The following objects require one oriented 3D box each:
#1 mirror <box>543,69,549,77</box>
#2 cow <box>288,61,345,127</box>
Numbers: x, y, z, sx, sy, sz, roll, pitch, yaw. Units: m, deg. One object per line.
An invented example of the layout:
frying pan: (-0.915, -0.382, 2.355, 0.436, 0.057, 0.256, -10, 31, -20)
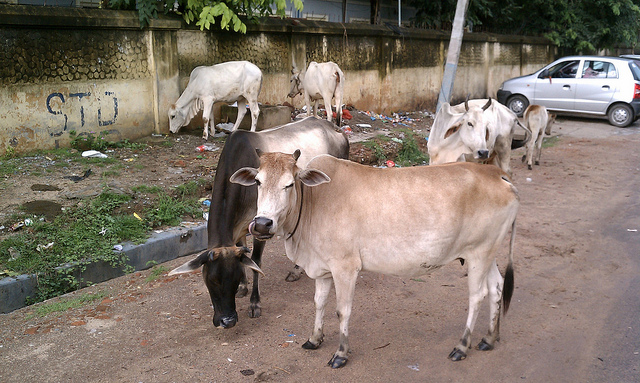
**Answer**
mirror: (8.168, -4.273, 17.247, 0.205, 0.208, 0.062, 1, -16, 43)
cow: (-0.133, -2.602, 12.730, 0.709, 1.649, 2.531, -7, 13, -29)
